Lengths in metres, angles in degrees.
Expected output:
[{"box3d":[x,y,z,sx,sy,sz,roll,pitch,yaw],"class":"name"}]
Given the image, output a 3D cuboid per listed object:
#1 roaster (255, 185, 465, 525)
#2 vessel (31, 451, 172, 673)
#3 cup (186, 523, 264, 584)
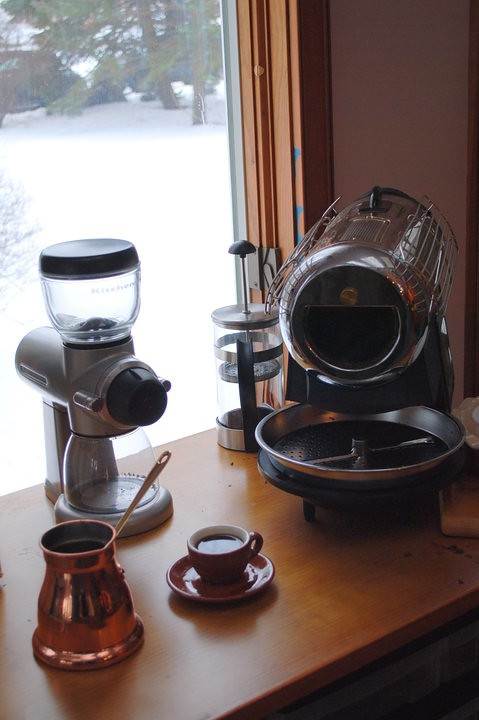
[{"box3d":[0.183,0.005,0.953,0.259,0.410,0.423,0,20,17],"class":"roaster"},{"box3d":[-0.163,0.237,0.659,0.113,0.132,0.107,-15,21,-31],"class":"vessel"},{"box3d":[-0.020,0.215,0.749,0.079,0.034,0.060,-13,17,-43],"class":"cup"}]
